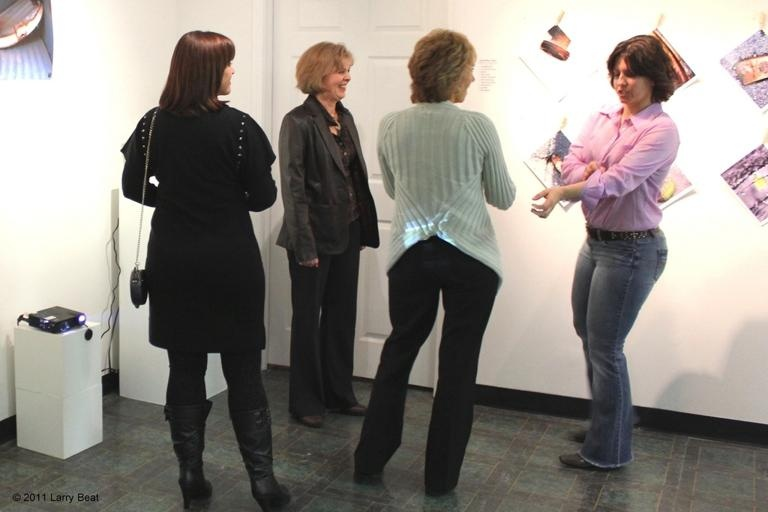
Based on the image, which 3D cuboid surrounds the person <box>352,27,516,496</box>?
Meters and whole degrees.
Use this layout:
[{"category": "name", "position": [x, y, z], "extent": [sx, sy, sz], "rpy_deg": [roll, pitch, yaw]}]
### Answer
[{"category": "person", "position": [0.242, 0.049, 2.644], "extent": [0.658, 2.157, 0.359], "rpy_deg": [5, 13, 19]}]

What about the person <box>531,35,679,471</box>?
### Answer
[{"category": "person", "position": [1.201, 0.010, 2.907], "extent": [0.506, 2.231, 0.505], "rpy_deg": [8, 14, 28]}]

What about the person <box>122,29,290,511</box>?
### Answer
[{"category": "person", "position": [-0.796, 0.102, 2.493], "extent": [0.723, 2.160, 0.412], "rpy_deg": [0, 12, -4]}]

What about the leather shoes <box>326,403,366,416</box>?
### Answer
[{"category": "leather shoes", "position": [-0.249, 0.981, 3.527], "extent": [0.260, 0.111, 0.089], "rpy_deg": [-3, 0, 5]}]

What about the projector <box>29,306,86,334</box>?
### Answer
[{"category": "projector", "position": [-1.827, 0.357, 3.068], "extent": [0.276, 0.085, 0.164], "rpy_deg": [7, 14, 21]}]
